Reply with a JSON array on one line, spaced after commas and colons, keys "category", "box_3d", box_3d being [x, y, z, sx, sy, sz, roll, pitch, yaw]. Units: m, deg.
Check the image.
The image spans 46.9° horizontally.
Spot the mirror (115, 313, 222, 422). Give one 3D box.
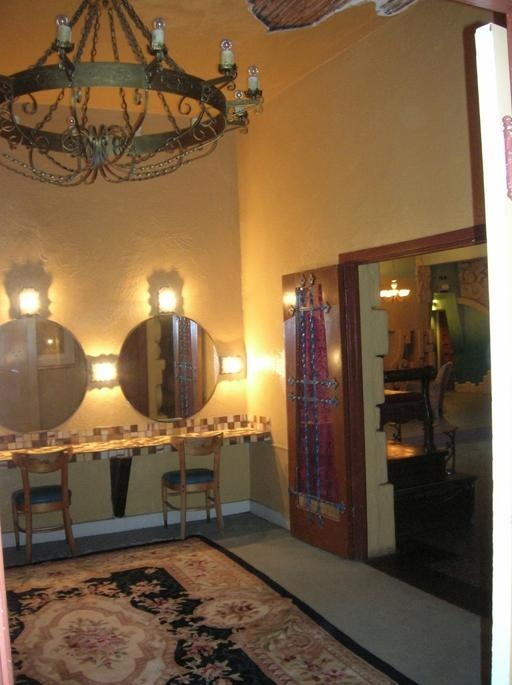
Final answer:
[{"category": "mirror", "box_3d": [-0.870, 0.241, 5.562, 1.105, 1.166, 0.160, -1, 3, -32]}]

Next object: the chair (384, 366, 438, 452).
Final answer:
[{"category": "chair", "box_3d": [1.664, 0.675, 6.514, 0.803, 0.920, 0.731, -7, -5, 25]}]

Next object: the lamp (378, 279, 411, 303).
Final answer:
[{"category": "lamp", "box_3d": [2.589, -0.965, 10.872, 0.803, 0.312, 0.226, -1, -2, -40]}]

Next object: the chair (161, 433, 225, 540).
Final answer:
[{"category": "chair", "box_3d": [-0.555, 1.216, 5.182, 0.566, 0.885, 0.864, -2, -1, -8]}]
